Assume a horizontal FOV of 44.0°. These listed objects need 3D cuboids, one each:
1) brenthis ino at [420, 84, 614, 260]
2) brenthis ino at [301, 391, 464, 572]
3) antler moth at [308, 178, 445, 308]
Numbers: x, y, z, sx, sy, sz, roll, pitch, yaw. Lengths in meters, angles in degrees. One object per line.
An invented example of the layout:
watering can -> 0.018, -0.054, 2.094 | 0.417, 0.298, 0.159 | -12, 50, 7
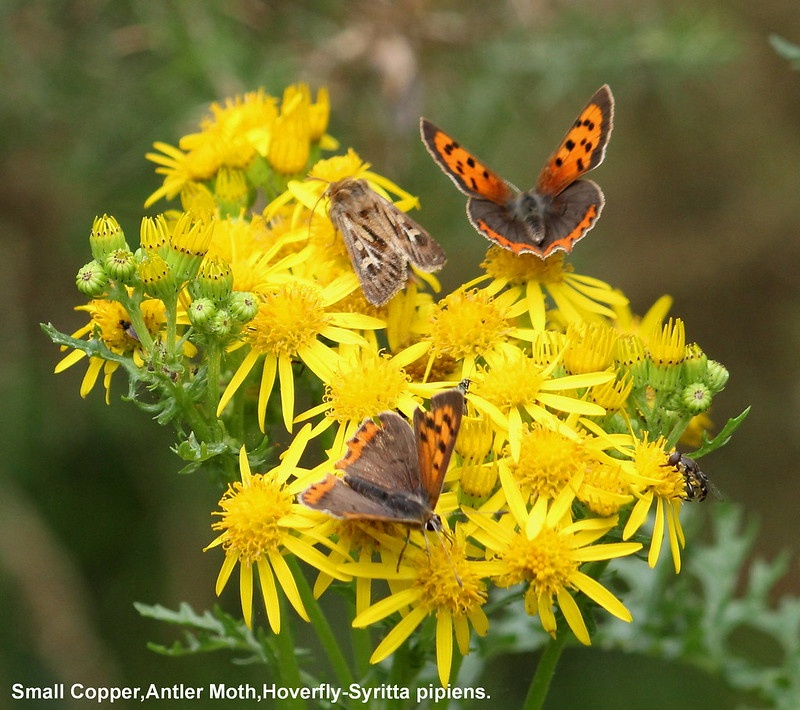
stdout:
brenthis ino -> 0.375, -0.511, 3.014 | 0.450, 0.774, 0.587 | 1, 105, 8
brenthis ino -> 0.002, 0.269, 2.442 | 0.361, 0.268, 0.426 | 27, 75, 6
antler moth -> -0.059, -0.332, 2.822 | 0.272, 0.130, 0.393 | -33, 70, -19
